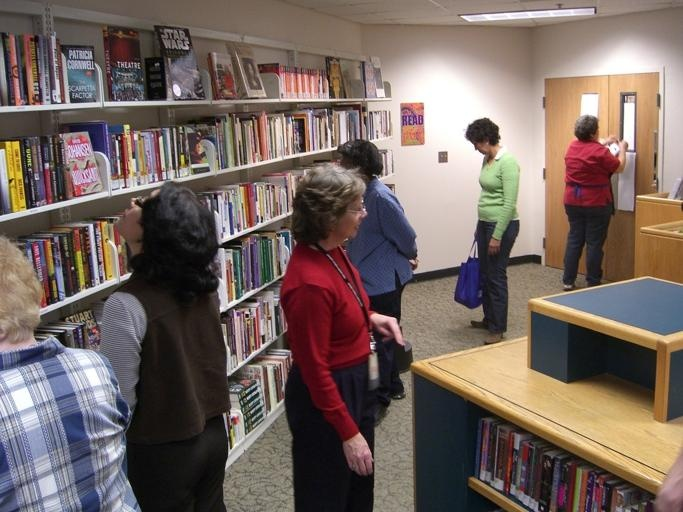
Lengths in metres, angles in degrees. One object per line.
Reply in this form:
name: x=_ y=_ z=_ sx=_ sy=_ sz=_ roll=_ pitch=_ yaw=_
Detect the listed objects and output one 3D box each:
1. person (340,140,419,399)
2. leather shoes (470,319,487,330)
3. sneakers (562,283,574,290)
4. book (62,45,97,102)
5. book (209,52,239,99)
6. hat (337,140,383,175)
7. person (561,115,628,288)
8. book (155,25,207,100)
person: x=0.306 y=0.083 z=3.746 sx=0.670 sy=1.895 sz=0.655 roll=-5 pitch=9 yaw=-18
leather shoes: x=1.454 y=0.715 z=5.286 sx=0.173 sy=0.131 sz=0.063 roll=15 pitch=16 yaw=37
sneakers: x=2.777 y=0.385 z=6.084 sx=0.082 sy=0.087 sz=0.135 roll=1 pitch=2 yaw=24
book: x=-1.288 y=-0.891 z=2.458 sx=0.050 sy=0.270 sz=0.181 roll=4 pitch=16 yaw=27
book: x=-0.853 y=-1.262 z=3.525 sx=0.135 sy=0.319 sz=0.348 roll=-1 pitch=15 yaw=12
hat: x=0.138 y=-0.662 z=3.513 sx=0.319 sy=0.329 sz=0.262 roll=12 pitch=15 yaw=36
person: x=2.896 y=-0.571 z=5.790 sx=0.565 sy=2.045 sz=0.310 roll=3 pitch=15 yaw=24
book: x=-1.011 y=-1.183 z=3.074 sx=0.116 sy=0.451 sz=0.334 roll=3 pitch=16 yaw=24
